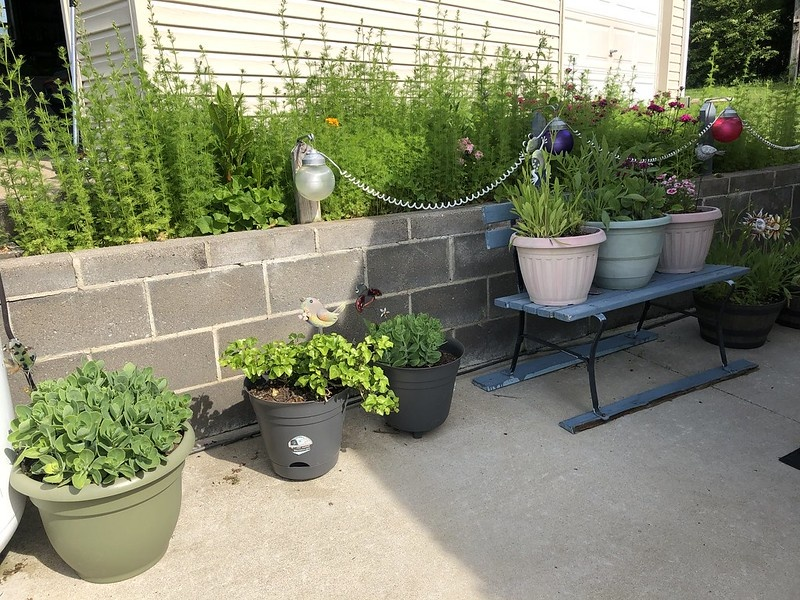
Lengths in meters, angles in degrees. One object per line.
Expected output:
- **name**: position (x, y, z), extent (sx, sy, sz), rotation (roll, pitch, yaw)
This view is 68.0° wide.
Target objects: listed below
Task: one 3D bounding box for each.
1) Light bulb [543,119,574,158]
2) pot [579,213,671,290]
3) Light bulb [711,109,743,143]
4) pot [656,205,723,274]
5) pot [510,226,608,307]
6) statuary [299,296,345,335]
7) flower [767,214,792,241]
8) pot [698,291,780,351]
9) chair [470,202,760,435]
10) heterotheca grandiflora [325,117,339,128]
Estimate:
- **Light bulb**: position (1.014, -1.050, 3.830), extent (0.127, 0.251, 0.259), rotation (14, 27, 34)
- **pot**: position (1.307, -0.282, 3.501), extent (0.427, 0.342, 0.446), rotation (-1, 13, 0)
- **Light bulb**: position (2.335, -1.255, 4.272), extent (0.193, 0.210, 0.165), rotation (9, 25, 26)
- **pot**: position (1.861, -0.388, 3.787), extent (0.397, 0.343, 0.414), rotation (0, 9, 0)
- **pot**: position (0.896, -0.170, 3.503), extent (0.455, 0.360, 0.451), rotation (-4, 17, 1)
- **statuary**: position (-0.406, 0.070, 3.186), extent (0.246, 0.185, 0.149), rotation (4, -2, -8)
- **flower**: position (2.882, -0.539, 4.557), extent (0.140, 0.221, 0.318), rotation (11, 26, 30)
- **pot**: position (2.354, 0.084, 4.152), extent (0.442, 0.289, 0.427), rotation (1, 8, 0)
- **chair**: position (1.300, 0.131, 3.705), extent (1.180, 0.838, 0.634), rotation (-12, 17, -32)
- **heterotheca grandiflora**: position (-0.417, -1.093, 3.659), extent (0.074, 0.080, 0.038), rotation (-6, 5, -10)
